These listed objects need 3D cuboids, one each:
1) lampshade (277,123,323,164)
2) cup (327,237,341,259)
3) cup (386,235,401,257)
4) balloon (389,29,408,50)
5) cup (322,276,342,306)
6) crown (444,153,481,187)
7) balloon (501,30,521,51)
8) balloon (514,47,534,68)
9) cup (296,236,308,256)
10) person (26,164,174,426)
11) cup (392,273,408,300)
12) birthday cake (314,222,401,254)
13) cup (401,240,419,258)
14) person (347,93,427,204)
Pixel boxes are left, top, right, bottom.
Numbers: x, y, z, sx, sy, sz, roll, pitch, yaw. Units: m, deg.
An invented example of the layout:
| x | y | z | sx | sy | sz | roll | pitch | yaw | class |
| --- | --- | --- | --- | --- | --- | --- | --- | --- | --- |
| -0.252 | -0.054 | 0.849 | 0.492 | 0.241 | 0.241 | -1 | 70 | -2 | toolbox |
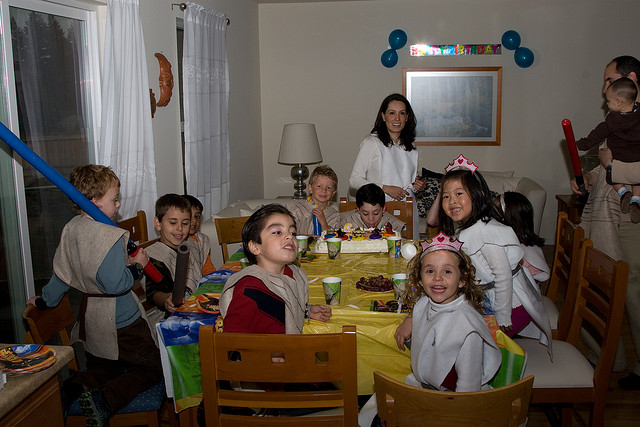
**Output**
| x | y | z | sx | sy | sz | roll | pitch | yaw | class |
| --- | --- | --- | --- | --- | --- | --- | --- | --- | --- |
| -0.255 | -0.787 | 5.323 | 0.571 | 0.607 | 0.595 | -3 | 10 | -11 | lampshade |
| 0.082 | 0.214 | 2.589 | 0.102 | 0.119 | 0.108 | 0 | 1 | 0 | cup |
| 0.450 | 0.198 | 2.606 | 0.100 | 0.123 | 0.112 | -1 | 1 | 11 | cup |
| 1.048 | -2.333 | 5.733 | 0.255 | 0.253 | 0.144 | 1 | 8 | 2 | balloon |
| 0.060 | 0.384 | 2.103 | 0.122 | 0.120 | 0.128 | -4 | 0 | 0 | cup |
| 0.755 | -0.233 | 2.286 | 0.161 | 0.157 | 0.265 | 2 | 8 | 8 | crown |
| 2.491 | -2.251 | 5.660 | 0.226 | 0.238 | 0.270 | -10 | 14 | 4 | balloon |
| 2.693 | -2.062 | 5.651 | 0.228 | 0.252 | 0.152 | -13 | 10 | 18 | balloon |
| -0.112 | 0.200 | 2.659 | 0.106 | 0.124 | 0.110 | 0 | 1 | 0 | cup |
| -1.139 | 0.470 | 2.213 | 0.592 | 0.962 | 0.573 | 6 | 9 | 34 | person |
| 0.378 | 0.365 | 2.169 | 0.096 | 0.104 | 0.097 | -1 | 9 | 0 | cup |
| 0.235 | 0.166 | 2.784 | 0.348 | 0.114 | 0.273 | -2 | 7 | 3 | birthday cake |
| 0.550 | 0.218 | 2.641 | 0.082 | 0.069 | 0.097 | -2 | 9 | 5 | cup |
| 0.530 | -0.563 | 3.518 | 0.542 | 0.786 | 0.250 | 1 | 8 | 3 | person |
